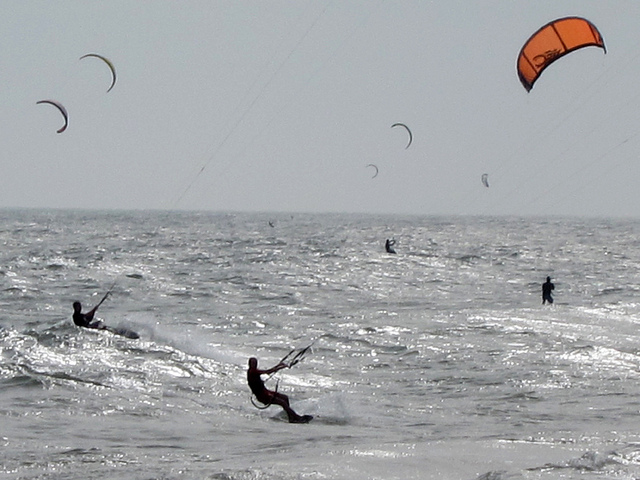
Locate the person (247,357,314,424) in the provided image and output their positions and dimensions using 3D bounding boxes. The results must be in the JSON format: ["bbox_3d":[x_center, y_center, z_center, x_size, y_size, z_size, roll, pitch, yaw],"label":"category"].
[{"bbox_3d":[-1.056,3.614,25.174,1.016,1.369,1.448,-19,-31,40],"label":"person"}]

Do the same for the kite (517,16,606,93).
[{"bbox_3d":[6.396,-4.953,27.263,2.738,0.648,2.506,-19,15,47],"label":"kite"}]

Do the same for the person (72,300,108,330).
[{"bbox_3d":[-6.878,2.242,31.823,0.938,0.428,0.762,18,-14,-31],"label":"person"}]

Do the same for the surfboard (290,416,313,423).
[{"bbox_3d":[-0.396,4.243,24.980,0.367,0.103,0.143,-7,8,-8],"label":"surfboard"}]
